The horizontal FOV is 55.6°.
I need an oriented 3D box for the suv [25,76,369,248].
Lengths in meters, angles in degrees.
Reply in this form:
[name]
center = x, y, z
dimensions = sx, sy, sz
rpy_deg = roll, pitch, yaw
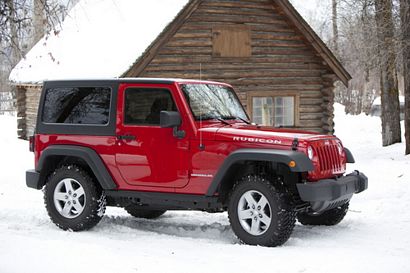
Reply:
[suv]
center = -0.194, 0.384, 7.856
dimensions = 5.459, 2.764, 3.119
rpy_deg = -1, 0, 23
